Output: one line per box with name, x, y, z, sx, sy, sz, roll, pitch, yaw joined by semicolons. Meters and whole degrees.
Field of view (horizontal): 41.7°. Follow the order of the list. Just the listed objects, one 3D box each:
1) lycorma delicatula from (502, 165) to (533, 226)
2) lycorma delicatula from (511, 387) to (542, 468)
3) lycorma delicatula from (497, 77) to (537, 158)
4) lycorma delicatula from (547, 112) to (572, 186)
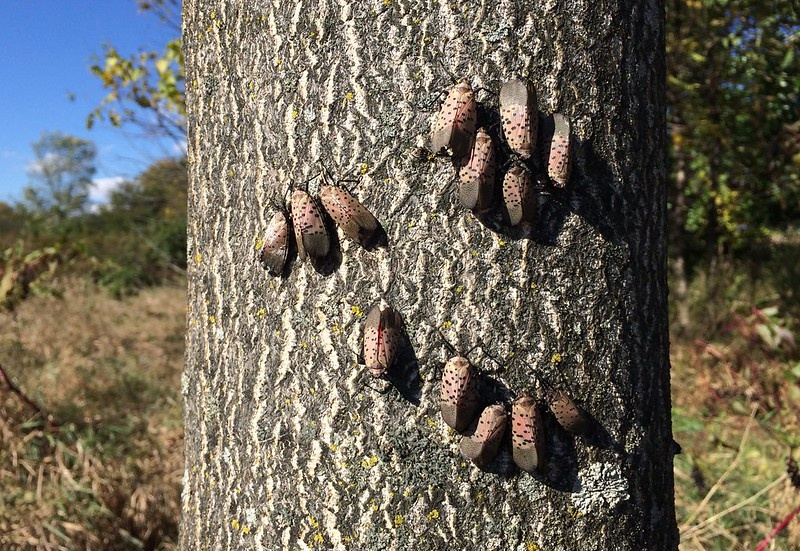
lycorma delicatula;1.237;-0.841;10.782;0.325;0.694;0.166;-11;38;1
lycorma delicatula;1.294;1.569;10.711;0.261;0.721;0.149;2;-1;9
lycorma delicatula;1.220;-1.605;10.739;0.404;0.758;0.212;1;-2;-14
lycorma delicatula;1.641;-1.266;10.745;0.278;0.630;0.216;-2;1;-7
